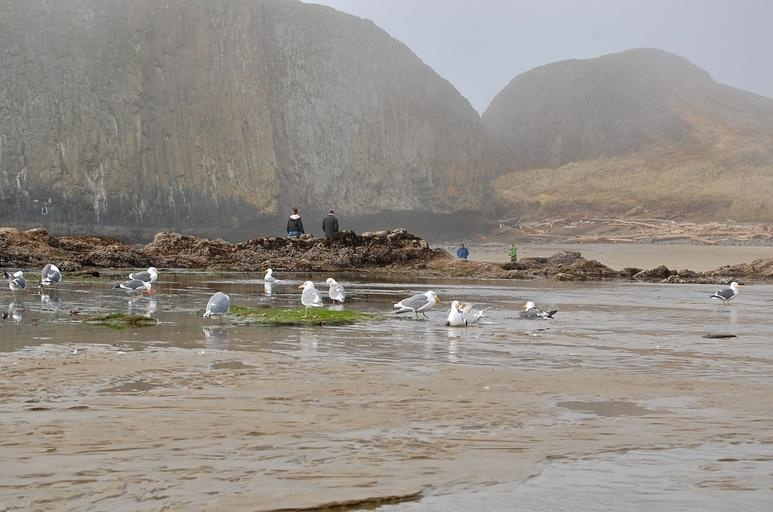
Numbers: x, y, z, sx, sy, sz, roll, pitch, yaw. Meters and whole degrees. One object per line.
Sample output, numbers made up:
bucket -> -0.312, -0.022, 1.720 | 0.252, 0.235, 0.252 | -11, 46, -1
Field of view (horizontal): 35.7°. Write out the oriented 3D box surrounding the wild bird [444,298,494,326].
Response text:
wild bird -> 3.556, 2.822, 57.027 | 1.157, 1.006, 1.958 | -5, -1, 28
